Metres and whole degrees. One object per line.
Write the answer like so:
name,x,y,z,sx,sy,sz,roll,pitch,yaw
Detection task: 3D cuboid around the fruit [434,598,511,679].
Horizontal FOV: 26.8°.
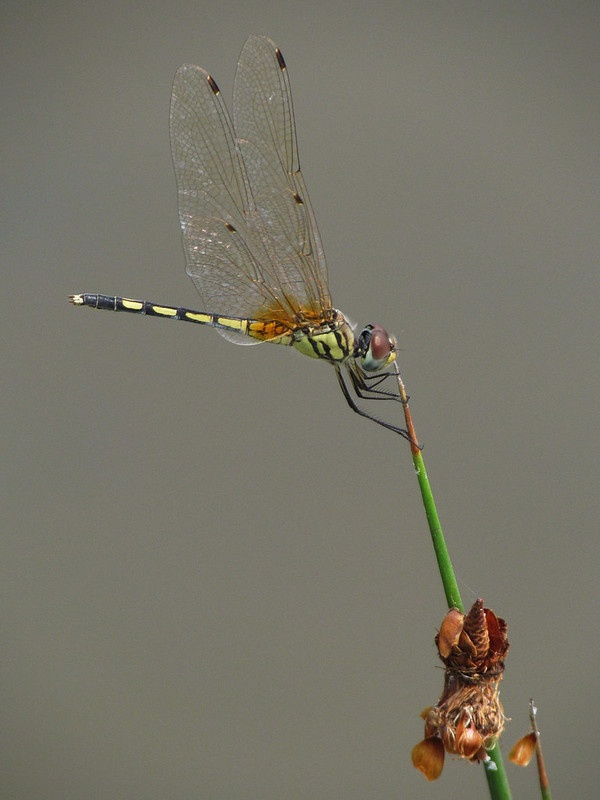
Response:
fruit,0.441,0.618,3.212,0.179,0.213,0.172,-7,69,2
